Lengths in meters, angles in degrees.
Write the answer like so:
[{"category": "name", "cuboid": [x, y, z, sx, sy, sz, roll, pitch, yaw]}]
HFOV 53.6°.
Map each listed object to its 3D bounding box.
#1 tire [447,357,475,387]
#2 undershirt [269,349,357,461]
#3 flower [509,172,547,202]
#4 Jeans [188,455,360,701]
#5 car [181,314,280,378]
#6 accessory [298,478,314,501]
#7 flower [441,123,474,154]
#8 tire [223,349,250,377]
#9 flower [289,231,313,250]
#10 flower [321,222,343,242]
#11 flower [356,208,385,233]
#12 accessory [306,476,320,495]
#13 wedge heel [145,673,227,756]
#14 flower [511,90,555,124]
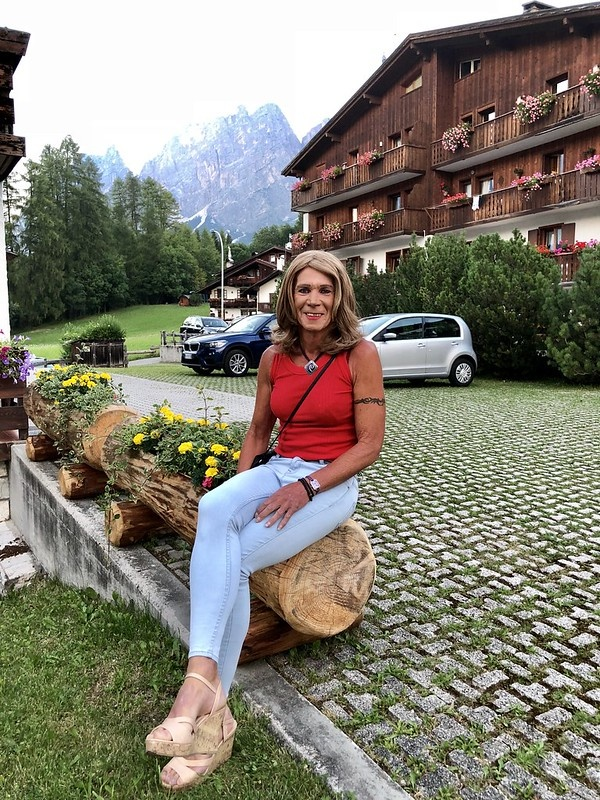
[{"category": "tire", "cuboid": [3.774, -0.695, 13.897, 0.640, 0.617, 0.208, 11, 2, -31]}, {"category": "undershirt", "cuboid": [0.057, -0.009, 2.549, 0.413, 0.513, 0.311, 0, 3, 13]}, {"category": "flower", "cuboid": [8.440, -7.856, 21.657, 0.926, 0.429, 1.018, -34, 36, -12]}, {"category": "Jeans", "cuboid": [-0.145, 0.617, 2.166, 0.345, 0.676, 0.786, 5, 10, 30]}, {"category": "car", "cuboid": [-1.436, -1.555, 17.569, 3.703, 1.457, 1.735, -3, 3, -38]}, {"category": "accessory", "cuboid": [0.032, 0.338, 2.270, 0.023, 0.071, 0.075, -25, -27, -6]}, {"category": "flower", "cuboid": [6.646, -11.136, 24.968, 1.088, 0.630, 1.306, -4, 5, -15]}, {"category": "tire", "cuboid": [-1.802, -1.108, 16.883, 0.573, 0.569, 0.203, 43, -9, -28]}, {"category": "flower", "cuboid": [0.120, -9.378, 34.780, 1.654, 0.940, 1.621, 3, 6, 12]}, {"category": "flower", "cuboid": [1.818, -8.984, 32.040, 1.177, 0.591, 1.092, -2, 31, 5]}, {"category": "flower", "cuboid": [3.510, -8.664, 28.638, 1.025, 0.727, 1.256, -3, 16, -2]}, {"category": "accessory", "cuboid": [0.051, 0.327, 2.255, 0.051, 0.067, 0.025, 18, -42, -23]}, {"category": "wedge heel", "cuboid": [-0.316, 0.929, 1.773, 0.120, 0.208, 0.348, -16, -28, 29]}, {"category": "flower", "cuboid": [8.334, -10.402, 21.048, 0.852, 1.271, 1.314, -10, 19, -44]}]
